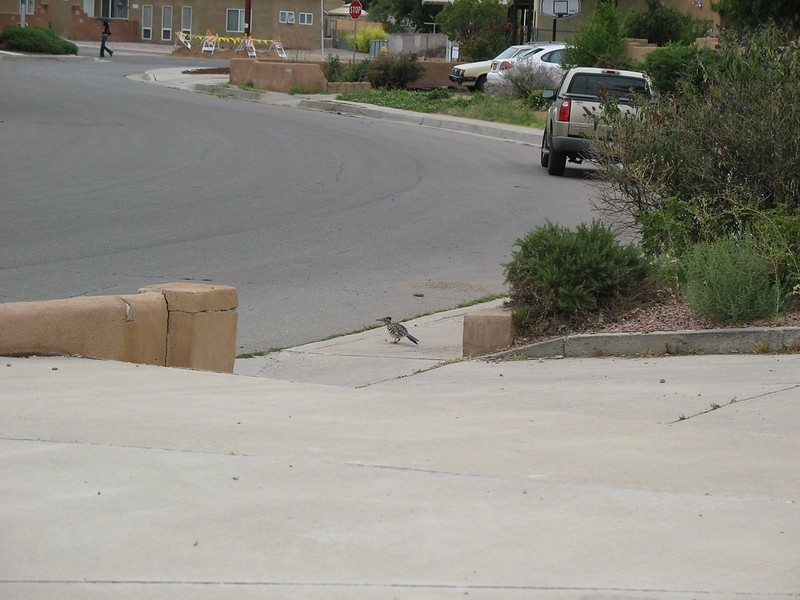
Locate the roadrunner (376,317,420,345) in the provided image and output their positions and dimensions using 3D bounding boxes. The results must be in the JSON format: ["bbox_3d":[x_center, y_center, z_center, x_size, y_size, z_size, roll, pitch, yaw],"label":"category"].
[{"bbox_3d":[0.020,0.344,18.182,0.383,0.272,0.531,0,12,-2],"label":"roadrunner"}]

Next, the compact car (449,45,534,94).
[{"bbox_3d":[2.694,-6.509,47.791,2.493,0.824,1.129,-2,12,-6],"label":"compact car"}]

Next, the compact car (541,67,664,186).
[{"bbox_3d":[3.209,-2.881,27.819,1.445,1.152,2.631,2,21,3],"label":"compact car"}]

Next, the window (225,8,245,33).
[{"bbox_3d":[-8.560,-14.335,86.906,0.887,1.229,0.427,0,11,0],"label":"window"}]
